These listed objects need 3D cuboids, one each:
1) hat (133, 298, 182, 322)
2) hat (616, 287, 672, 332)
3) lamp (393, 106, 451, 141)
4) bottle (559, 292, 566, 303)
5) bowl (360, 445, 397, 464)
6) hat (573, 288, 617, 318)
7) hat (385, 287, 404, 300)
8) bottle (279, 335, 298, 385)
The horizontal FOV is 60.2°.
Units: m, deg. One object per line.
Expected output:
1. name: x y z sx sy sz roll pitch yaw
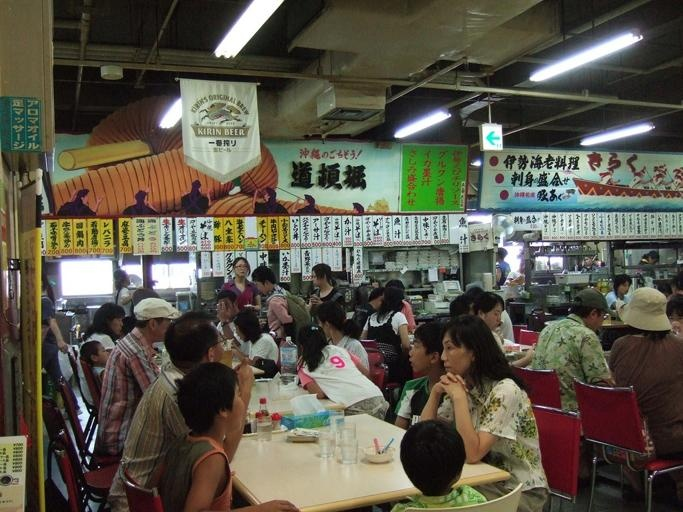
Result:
1. hat: -1.308 0.382 4.220 0.257 0.113 0.179 0 4 -29
2. hat: 2.421 0.383 4.594 0.414 0.263 0.527 -7 4 -1
3. lamp: 1.184 -1.962 8.603 0.266 0.314 1.027 -2 0 -34
4. bottle: 3.779 0.705 10.063 0.051 0.162 0.159 0 10 45
5. bowl: 0.209 1.115 3.317 0.188 0.077 0.158 -2 0 3
6. hat: 2.075 0.378 4.811 0.269 0.143 0.190 9 2 -19
7. hat: 0.603 0.415 6.784 0.175 0.138 0.175 10 7 -39
8. bottle: -0.451 0.893 5.061 0.156 0.425 0.151 -1 9 0
